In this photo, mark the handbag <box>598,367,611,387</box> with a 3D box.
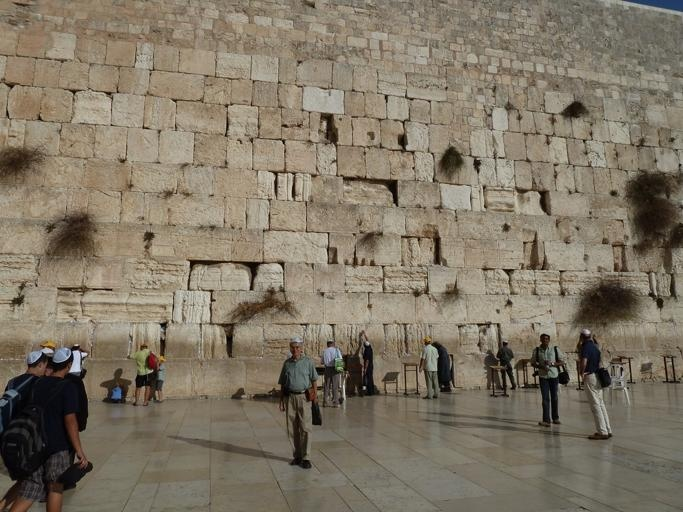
[{"bbox_3d":[4.529,2.094,11.128,0.175,0.329,0.370,2,3,42],"label":"handbag"}]

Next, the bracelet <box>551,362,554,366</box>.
[{"bbox_3d":[3.859,1.985,11.839,0.089,0.075,0.027,-2,3,-33],"label":"bracelet"}]

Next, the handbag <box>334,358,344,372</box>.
[{"bbox_3d":[-0.061,2.350,13.984,0.291,0.417,0.233,1,-3,-2],"label":"handbag"}]

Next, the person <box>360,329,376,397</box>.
[{"bbox_3d":[0.620,2.565,15.387,0.367,1.364,0.722,0,2,3],"label":"person"}]

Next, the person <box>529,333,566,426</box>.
[{"bbox_3d":[3.838,2.285,12.112,0.568,1.634,1.151,0,2,17],"label":"person"}]

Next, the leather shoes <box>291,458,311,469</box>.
[{"bbox_3d":[-0.599,3.109,9.766,0.340,0.148,0.117,2,-7,34],"label":"leather shoes"}]

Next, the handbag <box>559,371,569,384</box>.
[{"bbox_3d":[4.078,2.242,11.934,0.182,0.282,0.652,0,2,17],"label":"handbag"}]

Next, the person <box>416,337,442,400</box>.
[{"bbox_3d":[2.050,2.595,15.047,0.413,1.407,0.988,0,2,9],"label":"person"}]

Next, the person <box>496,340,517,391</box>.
[{"bbox_3d":[4.015,2.764,15.814,0.440,1.134,1.624,0,2,15],"label":"person"}]

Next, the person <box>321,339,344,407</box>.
[{"bbox_3d":[-0.200,2.514,13.994,0.483,1.359,0.803,0,2,0],"label":"person"}]

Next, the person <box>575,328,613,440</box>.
[{"bbox_3d":[4.406,2.199,11.232,0.553,1.730,1.057,1,3,22],"label":"person"}]

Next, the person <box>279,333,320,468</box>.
[{"bbox_3d":[-0.633,2.231,9.964,0.536,1.819,0.854,-1,2,-17],"label":"person"}]

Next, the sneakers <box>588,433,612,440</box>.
[{"bbox_3d":[4.332,3.019,10.884,0.358,0.158,0.136,-1,-12,15],"label":"sneakers"}]
